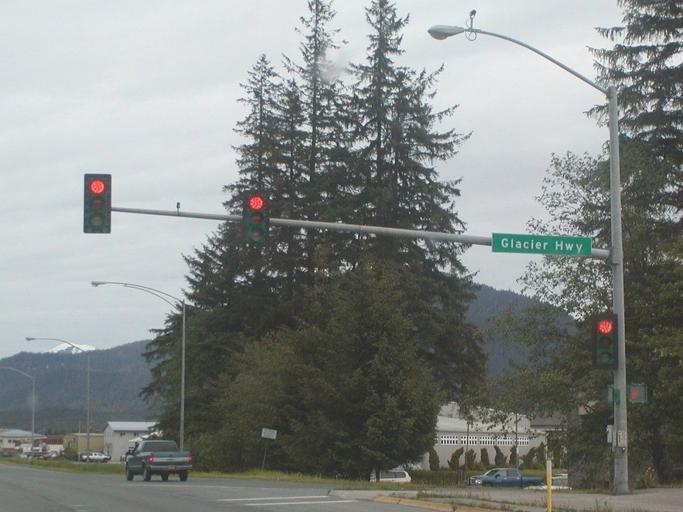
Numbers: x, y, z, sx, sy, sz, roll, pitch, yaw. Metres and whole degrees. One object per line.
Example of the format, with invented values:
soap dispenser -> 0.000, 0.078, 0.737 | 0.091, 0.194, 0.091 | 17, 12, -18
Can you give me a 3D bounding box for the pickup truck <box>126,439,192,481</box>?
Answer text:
pickup truck -> -12.647, 13.931, 107.402 | 3.084, 2.765, 6.562 | 3, -8, -24
